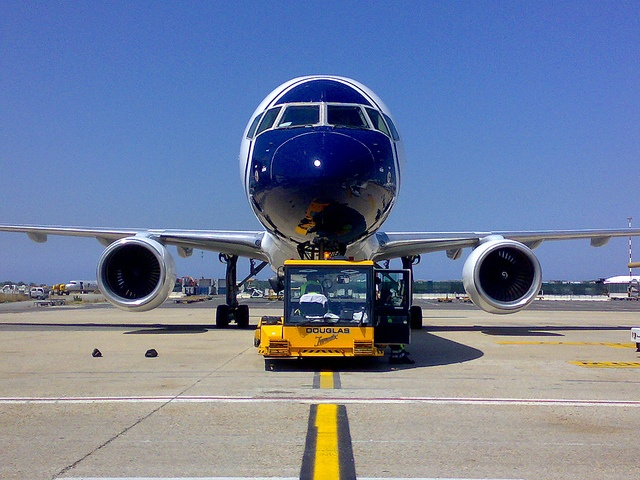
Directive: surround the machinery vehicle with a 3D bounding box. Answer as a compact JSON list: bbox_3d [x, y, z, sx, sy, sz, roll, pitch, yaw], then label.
[{"bbox_3d":[0.338,1.412,15.081,2.945,2.062,1.904,0,2,-1],"label":"machinery vehicle"}]
